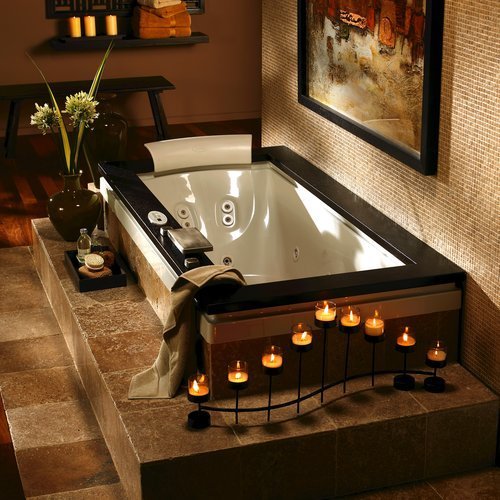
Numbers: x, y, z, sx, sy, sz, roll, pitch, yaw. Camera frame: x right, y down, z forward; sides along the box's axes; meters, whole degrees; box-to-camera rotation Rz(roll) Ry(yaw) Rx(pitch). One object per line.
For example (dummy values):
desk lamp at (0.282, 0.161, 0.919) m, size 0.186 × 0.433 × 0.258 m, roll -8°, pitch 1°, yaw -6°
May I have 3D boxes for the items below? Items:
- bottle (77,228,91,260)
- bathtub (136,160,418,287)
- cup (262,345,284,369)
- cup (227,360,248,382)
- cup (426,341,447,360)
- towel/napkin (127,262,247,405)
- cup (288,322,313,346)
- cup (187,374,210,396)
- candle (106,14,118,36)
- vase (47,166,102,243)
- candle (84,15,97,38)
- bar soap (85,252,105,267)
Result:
bottle at (-0.763, -0.027, 2.148) m, size 0.069 × 0.145 × 0.230 m, roll -5°, pitch 15°, yaw -17°
bathtub at (0.053, -0.099, 2.176) m, size 0.589 × 0.448 × 0.939 m, roll -13°, pitch 32°, yaw -25°
cup at (0.053, 0.259, 1.129) m, size 0.047 × 0.045 × 0.060 m, roll -1°, pitch 14°, yaw -2°
cup at (-0.029, 0.293, 1.113) m, size 0.044 × 0.034 × 0.046 m, roll 0°, pitch 23°, yaw 0°
cup at (0.501, 0.261, 1.247) m, size 0.043 × 0.033 × 0.045 m, roll -1°, pitch 22°, yaw 1°
towel/napkin at (-0.162, 0.219, 1.447) m, size 0.337 × 0.404 × 0.315 m, roll 1°, pitch 15°, yaw -3°
cup at (0.127, 0.209, 1.149) m, size 0.047 × 0.045 × 0.046 m, roll -1°, pitch 14°, yaw 0°
cup at (-0.131, 0.338, 1.143) m, size 0.044 × 0.035 × 0.049 m, roll 1°, pitch 19°, yaw -1°
candle at (-1.415, -2.314, 4.792) m, size 0.122 × 0.225 × 0.282 m, roll -4°, pitch 15°, yaw -15°
vase at (-0.911, -0.237, 2.436) m, size 0.267 × 0.338 × 0.283 m, roll 7°, pitch 22°, yaw 11°
candle at (-1.601, -2.253, 4.672) m, size 0.107 × 0.205 × 0.144 m, roll -5°, pitch 15°, yaw -18°
bar soap at (-0.689, 0.045, 2.056) m, size 0.090 × 0.057 × 0.092 m, roll -3°, pitch 15°, yaw -11°
